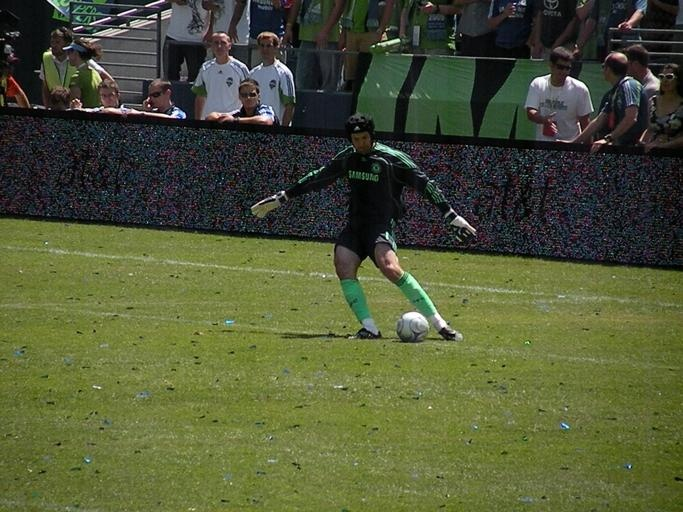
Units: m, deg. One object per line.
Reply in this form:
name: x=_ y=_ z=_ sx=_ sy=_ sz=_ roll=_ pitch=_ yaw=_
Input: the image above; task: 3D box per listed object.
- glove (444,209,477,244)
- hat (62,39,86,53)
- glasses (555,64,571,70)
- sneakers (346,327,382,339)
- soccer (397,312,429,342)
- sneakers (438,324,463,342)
glove: x=1.269 y=-0.327 z=13.774 sx=0.343 sy=0.336 sz=0.199 roll=9 pitch=18 yaw=16
hat: x=-3.858 y=-3.025 z=18.189 sx=0.276 sy=0.125 sz=0.183 roll=0 pitch=6 yaw=11
glasses: x=2.898 y=-2.501 z=16.688 sx=0.187 sy=0.092 sz=0.118 roll=0 pitch=18 yaw=-12
sneakers: x=0.243 y=0.850 z=13.716 sx=0.341 sy=0.144 sz=0.129 roll=4 pitch=-2 yaw=-1
soccer: x=0.736 y=0.758 z=13.717 sx=0.307 sy=0.322 sz=0.308 roll=-5 pitch=9 yaw=-34
sneakers: x=1.145 y=0.824 z=13.601 sx=0.139 sy=0.129 sz=0.245 roll=5 pitch=-6 yaw=27
